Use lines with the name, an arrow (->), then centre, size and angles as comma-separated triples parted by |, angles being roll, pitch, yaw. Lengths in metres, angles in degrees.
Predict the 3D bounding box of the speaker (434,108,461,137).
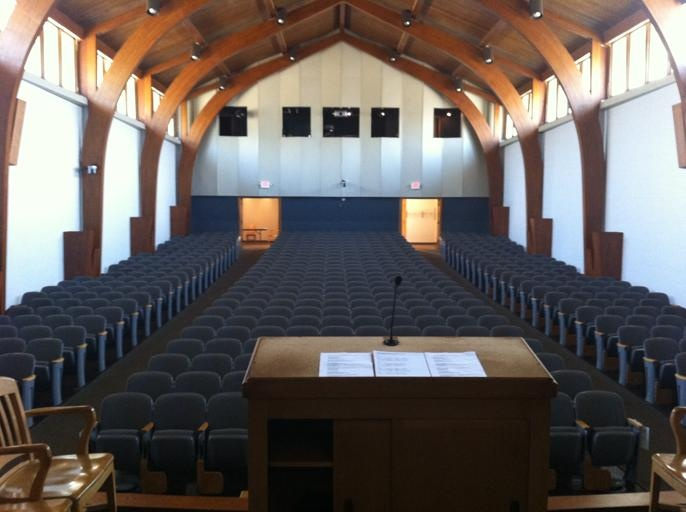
speaker -> 4.457, -5.840, 22.172 | 1.082, 1.097, 0.622 | -1, 2, -4
